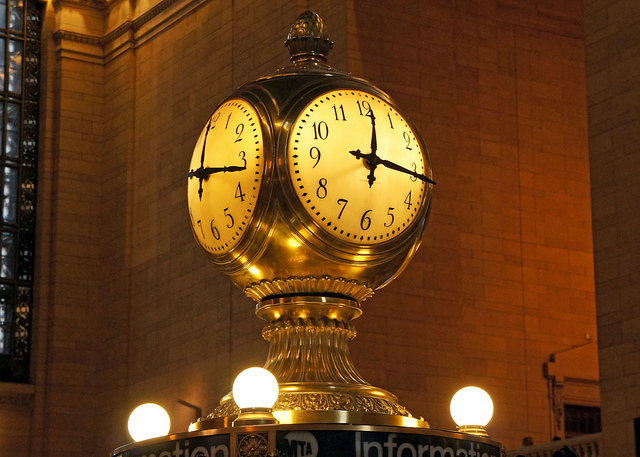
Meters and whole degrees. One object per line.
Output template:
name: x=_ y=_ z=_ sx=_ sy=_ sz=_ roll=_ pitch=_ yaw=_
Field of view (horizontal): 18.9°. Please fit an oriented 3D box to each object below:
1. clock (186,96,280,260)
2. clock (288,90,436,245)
clock: x=-1.092 y=-0.627 z=23.780 sx=0.911 sy=1.755 sz=1.310 roll=18 pitch=-35 yaw=-27
clock: x=0.444 y=-0.706 z=23.709 sx=1.872 sy=1.696 sz=0.240 roll=7 pitch=-10 yaw=-18
